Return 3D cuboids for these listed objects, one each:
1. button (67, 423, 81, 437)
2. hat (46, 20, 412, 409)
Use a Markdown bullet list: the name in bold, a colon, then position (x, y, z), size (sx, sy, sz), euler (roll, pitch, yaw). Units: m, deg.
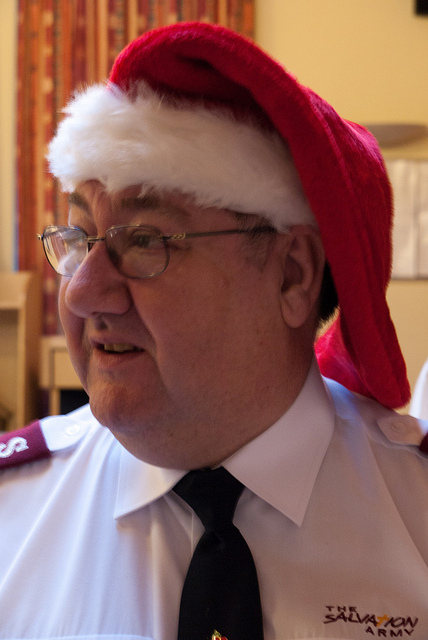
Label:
- **button**: position (-0.217, 0.172, 1.187), size (0.020, 0.009, 0.028), euler (0, 7, -9)
- **hat**: position (0.024, -0.175, 1.103), size (0.402, 0.365, 0.467), euler (4, -1, -26)
